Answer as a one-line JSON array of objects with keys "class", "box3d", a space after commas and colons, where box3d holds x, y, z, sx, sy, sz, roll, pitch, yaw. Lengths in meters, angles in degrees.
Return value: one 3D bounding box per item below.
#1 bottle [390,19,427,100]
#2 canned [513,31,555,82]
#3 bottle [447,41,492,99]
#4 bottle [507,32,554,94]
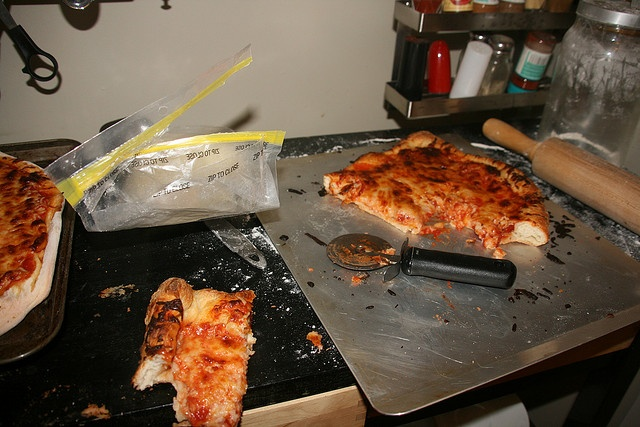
[{"class": "bottle", "box3d": [0.389, -0.641, 2.134, 0.158, 0.256, 0.367, 7, 38, 6]}, {"class": "canned", "box3d": [0.939, -0.668, 2.171, 0.134, 0.200, 0.133, 20, 40, 13]}, {"class": "bottle", "box3d": [0.641, -0.601, 2.107, 0.096, 0.287, 0.144, 8, 55, 5]}, {"class": "bottle", "box3d": [0.959, -0.635, 2.182, 0.141, 0.246, 0.143, 6, 27, -3]}]
